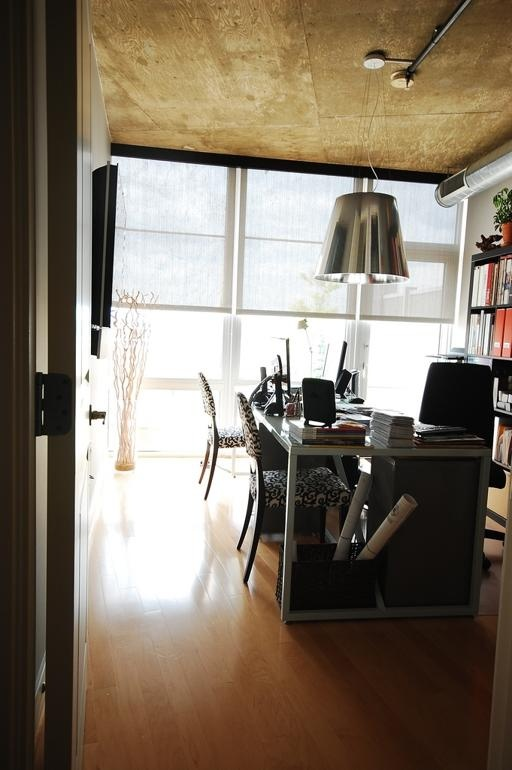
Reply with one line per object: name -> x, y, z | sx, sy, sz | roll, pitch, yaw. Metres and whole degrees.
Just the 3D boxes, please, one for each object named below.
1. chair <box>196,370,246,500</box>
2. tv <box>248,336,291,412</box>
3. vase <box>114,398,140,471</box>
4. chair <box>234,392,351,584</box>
chair -> -0.235, 0.352, 3.949 | 0.435, 0.932, 0.426 | -1, 5, -34
tv -> 0.103, -0.106, 3.888 | 0.194, 0.657, 0.585 | 1, 1, -4
vase -> -1.155, 0.452, 4.510 | 0.171, 0.652, 0.223 | 0, 3, -22
chair -> 0.201, 0.565, 3.004 | 0.649, 1.477, 0.732 | -1, 2, -5
